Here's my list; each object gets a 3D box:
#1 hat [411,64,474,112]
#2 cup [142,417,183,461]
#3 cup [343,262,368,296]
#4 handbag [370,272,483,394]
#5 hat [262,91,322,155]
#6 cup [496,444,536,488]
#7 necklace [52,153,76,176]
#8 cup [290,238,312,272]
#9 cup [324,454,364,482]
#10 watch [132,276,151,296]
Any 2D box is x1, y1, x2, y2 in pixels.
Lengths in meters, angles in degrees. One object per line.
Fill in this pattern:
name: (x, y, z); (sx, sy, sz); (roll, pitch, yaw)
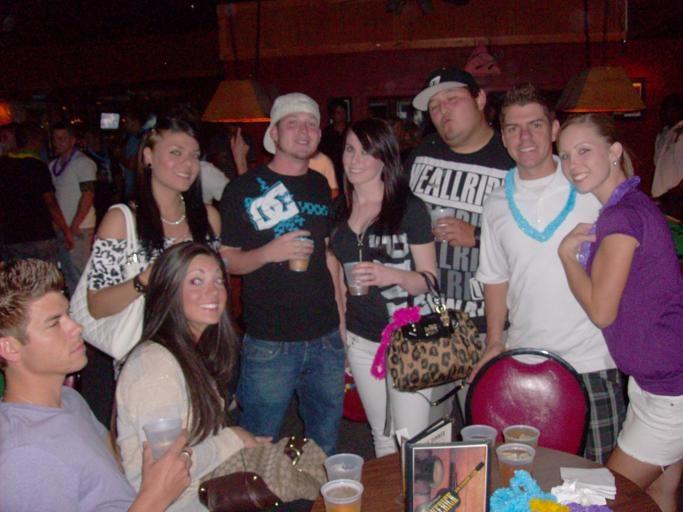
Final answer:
hat: (0.700, -1.182, 3.662); (0.379, 0.204, 0.303); (6, -8, -21)
cup: (-0.785, 0.781, 2.337); (0.168, 0.145, 0.156); (3, 6, 0)
cup: (0.090, 0.132, 3.208); (0.173, 0.194, 0.179); (-2, 6, 0)
handbag: (0.485, 0.457, 3.043); (0.584, 0.561, 0.309); (-7, 14, -13)
hat: (-0.342, -0.944, 3.564); (0.354, 0.484, 0.243); (5, -9, 2)
cup: (0.773, 0.902, 2.361); (0.174, 0.140, 0.176); (-1, 3, 0)
necklace: (-3.692, -1.267, 7.000); (0.262, 0.365, 0.127); (17, 18, -21)
cup: (-0.286, -0.023, 3.287); (0.178, 0.201, 0.179); (5, 12, -1)
cup: (0.012, 0.941, 2.357); (0.139, 0.110, 0.136); (1, 4, 0)
watch: (-1.095, 0.158, 2.893); (0.052, 0.093, 0.071); (-34, -23, 28)
